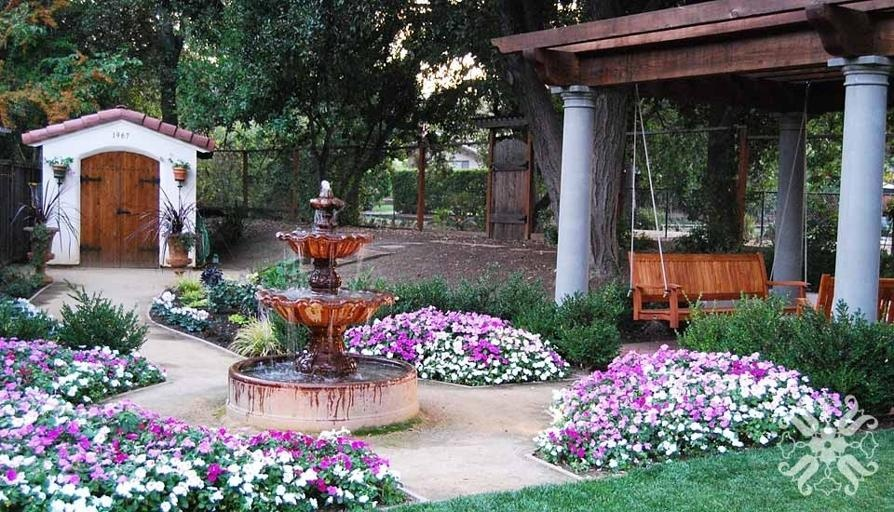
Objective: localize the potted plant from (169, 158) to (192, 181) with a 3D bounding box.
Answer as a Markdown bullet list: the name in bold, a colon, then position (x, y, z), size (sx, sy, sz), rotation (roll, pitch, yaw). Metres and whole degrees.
- **potted plant**: position (-6.593, -2.130, 19.566), size (0.482, 0.409, 0.489), rotation (-1, -4, -17)

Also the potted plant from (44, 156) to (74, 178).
- **potted plant**: position (-9.433, -2.206, 19.301), size (0.533, 0.405, 0.520), rotation (-1, 0, -2)

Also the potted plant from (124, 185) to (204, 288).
- **potted plant**: position (-6.629, -0.617, 19.398), size (2.120, 2.657, 2.055), rotation (1, 3, 19)

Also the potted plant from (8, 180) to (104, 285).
- **potted plant**: position (-9.205, -0.682, 18.740), size (1.789, 2.346, 2.218), rotation (0, 5, -26)
